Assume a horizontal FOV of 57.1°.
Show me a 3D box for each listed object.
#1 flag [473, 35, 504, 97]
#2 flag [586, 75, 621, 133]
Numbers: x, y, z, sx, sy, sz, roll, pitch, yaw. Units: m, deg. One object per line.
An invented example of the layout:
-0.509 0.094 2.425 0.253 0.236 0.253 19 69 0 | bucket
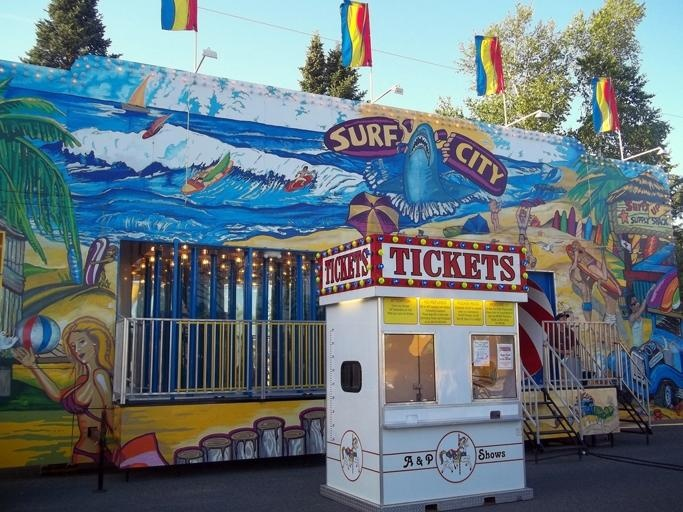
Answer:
3.939 -5.098 16.767 0.673 1.824 0.639 -3 -10 13 | flag
7.637 -4.397 18.206 0.645 1.736 1.093 -5 -11 23 | flag
